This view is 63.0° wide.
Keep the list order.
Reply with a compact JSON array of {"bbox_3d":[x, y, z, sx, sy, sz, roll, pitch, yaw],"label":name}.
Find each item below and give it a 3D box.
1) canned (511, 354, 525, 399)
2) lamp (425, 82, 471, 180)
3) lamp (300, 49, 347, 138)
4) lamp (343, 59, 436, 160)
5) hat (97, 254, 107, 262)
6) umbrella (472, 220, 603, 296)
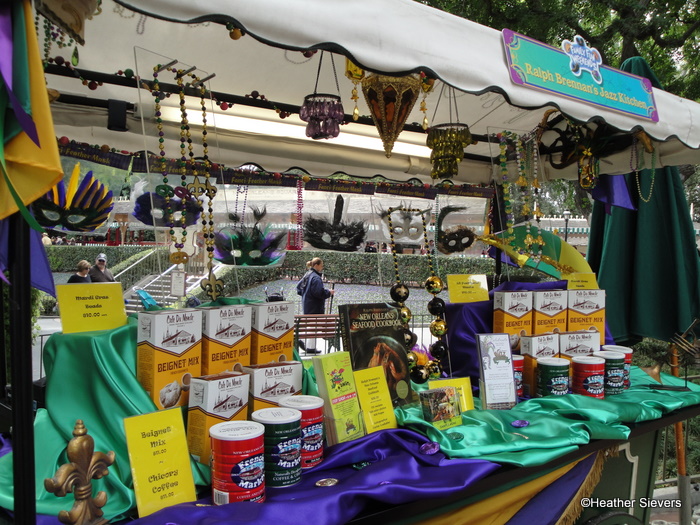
[{"bbox_3d":[0.831,0.559,2.813,0.050,0.211,0.149,-2,-1,19],"label":"canned"},{"bbox_3d":[0.558,-0.818,3.249,0.237,0.667,0.230,5,-6,-16],"label":"lamp"},{"bbox_3d":[-0.141,-1.015,3.244,0.253,0.598,0.255,4,-3,4],"label":"lamp"},{"bbox_3d":[0.170,-0.767,2.900,0.481,0.511,0.485,4,-1,-4],"label":"lamp"},{"bbox_3d":[-2.907,-0.056,6.686,0.086,0.100,0.120,21,-5,-32],"label":"hat"},{"bbox_3d":[1.154,0.022,3.491,0.615,0.240,0.415,10,16,-21],"label":"umbrella"}]
